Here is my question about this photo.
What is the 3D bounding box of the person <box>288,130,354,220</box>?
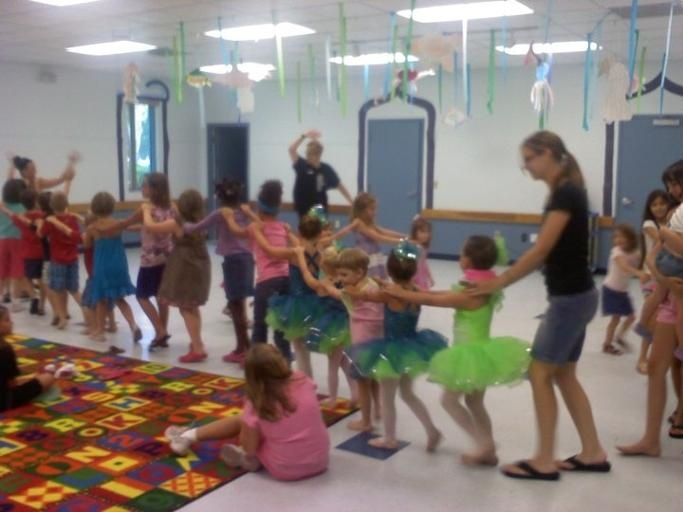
[{"bbox_3d":[-0.271,-0.850,6.067,0.539,0.866,0.770,2,11,10],"label":"person"}]

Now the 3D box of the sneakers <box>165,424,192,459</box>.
[{"bbox_3d":[-0.953,1.088,3.535,0.129,0.191,0.105,-14,9,34],"label":"sneakers"}]

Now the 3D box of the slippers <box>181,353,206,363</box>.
[{"bbox_3d":[-1.259,0.852,5.032,0.177,0.071,0.092,3,0,-8],"label":"slippers"}]

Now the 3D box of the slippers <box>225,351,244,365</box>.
[{"bbox_3d":[-0.895,0.860,5.005,0.207,0.083,0.077,4,2,17],"label":"slippers"}]

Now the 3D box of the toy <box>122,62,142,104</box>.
[{"bbox_3d":[-2.290,-1.895,6.490,0.156,0.423,0.562,-4,11,-19],"label":"toy"}]

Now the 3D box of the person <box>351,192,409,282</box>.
[{"bbox_3d":[0.346,-0.082,5.346,0.542,0.932,0.457,-6,19,-12],"label":"person"}]

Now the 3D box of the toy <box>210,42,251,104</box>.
[{"bbox_3d":[-1.182,-1.947,6.513,0.384,0.667,0.599,-2,11,-12],"label":"toy"}]

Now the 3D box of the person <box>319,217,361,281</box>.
[{"bbox_3d":[-0.010,-0.065,4.566,0.326,0.267,0.978,1,-5,1],"label":"person"}]

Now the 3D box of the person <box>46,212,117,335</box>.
[{"bbox_3d":[-2.506,0.168,5.797,0.515,1.189,0.655,-10,-3,-8],"label":"person"}]

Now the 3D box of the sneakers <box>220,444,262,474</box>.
[{"bbox_3d":[-0.568,1.139,3.363,0.197,0.083,0.122,21,30,19],"label":"sneakers"}]

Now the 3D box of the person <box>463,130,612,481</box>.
[{"bbox_3d":[1.164,0.272,3.259,0.762,1.895,0.368,-1,11,-7],"label":"person"}]

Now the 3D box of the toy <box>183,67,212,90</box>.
[{"bbox_3d":[-1.677,-2.103,6.932,0.255,0.221,0.532,-3,11,-15],"label":"toy"}]

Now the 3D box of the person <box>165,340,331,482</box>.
[{"bbox_3d":[-0.575,0.860,3.424,1.003,0.732,0.475,0,8,26],"label":"person"}]

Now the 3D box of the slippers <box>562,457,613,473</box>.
[{"bbox_3d":[1.384,1.185,3.337,0.258,0.076,0.102,1,0,12],"label":"slippers"}]

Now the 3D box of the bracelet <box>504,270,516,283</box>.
[{"bbox_3d":[0.879,0.107,3.085,0.054,0.055,0.056,-6,-19,17],"label":"bracelet"}]
